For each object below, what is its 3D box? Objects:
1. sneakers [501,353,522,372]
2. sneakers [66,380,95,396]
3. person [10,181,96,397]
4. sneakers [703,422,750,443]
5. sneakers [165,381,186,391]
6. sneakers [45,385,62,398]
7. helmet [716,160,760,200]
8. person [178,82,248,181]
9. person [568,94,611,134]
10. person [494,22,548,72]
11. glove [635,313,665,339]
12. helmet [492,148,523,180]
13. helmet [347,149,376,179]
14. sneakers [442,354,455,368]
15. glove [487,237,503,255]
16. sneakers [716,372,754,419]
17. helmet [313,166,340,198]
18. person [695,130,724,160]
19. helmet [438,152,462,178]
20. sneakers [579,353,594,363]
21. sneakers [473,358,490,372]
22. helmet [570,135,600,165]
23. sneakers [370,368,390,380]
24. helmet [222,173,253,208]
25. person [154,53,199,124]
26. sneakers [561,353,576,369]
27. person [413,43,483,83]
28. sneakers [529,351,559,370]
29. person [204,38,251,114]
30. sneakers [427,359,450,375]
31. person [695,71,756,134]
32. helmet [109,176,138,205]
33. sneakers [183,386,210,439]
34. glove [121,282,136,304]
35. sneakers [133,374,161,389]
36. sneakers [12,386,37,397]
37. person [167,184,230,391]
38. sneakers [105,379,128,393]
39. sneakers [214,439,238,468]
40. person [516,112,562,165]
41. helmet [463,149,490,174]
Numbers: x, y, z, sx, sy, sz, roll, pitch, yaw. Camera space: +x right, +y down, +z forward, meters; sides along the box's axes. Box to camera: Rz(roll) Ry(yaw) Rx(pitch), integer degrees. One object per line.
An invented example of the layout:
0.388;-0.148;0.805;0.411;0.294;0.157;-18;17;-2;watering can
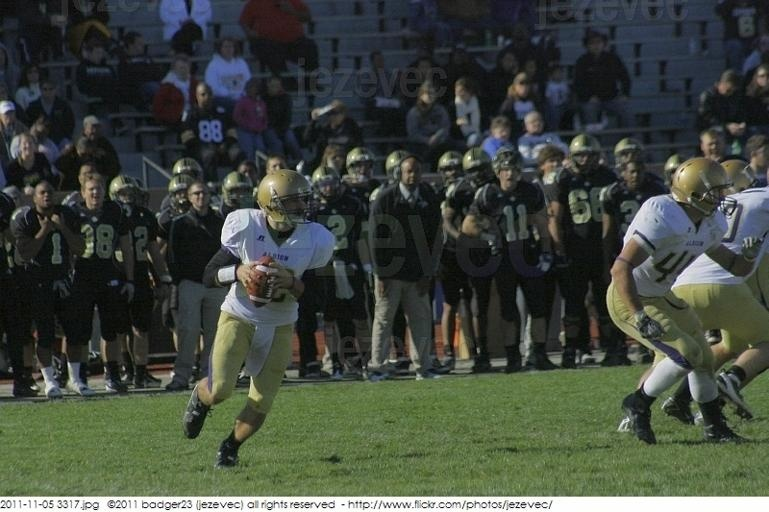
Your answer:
1.522;1.302;17.291;0.241;0.231;0.146;-3;-1;1;sneakers
-3.536;1.576;17.029;0.316;0.117;0.135;18;3;22;sneakers
-3.889;0.411;17.006;0.859;2.119;0.488;-1;1;-17;person
3.550;1.833;15.007;0.503;0.290;0.164;-2;0;-6;sneakers
-2.446;1.545;17.101;0.245;0.097;0.097;9;-1;-6;sneakers
-3.838;1.595;16.930;0.187;0.115;0.231;-1;1;-14;sneakers
3.954;-0.880;16.073;0.506;0.454;0.383;2;19;0;helmet
-2.454;-1.669;20.855;0.814;1.534;0.838;-9;8;-24;person
3.089;-2.104;22.064;0.210;0.544;0.929;-1;1;37;person
2.189;-3.177;22.180;0.643;0.829;0.951;-1;1;18;person
2.669;0.735;14.745;0.222;0.291;0.134;-40;-5;-28;glove
1.476;-1.092;17.394;0.263;0.332;0.343;5;-25;-9;helmet
-0.277;-1.151;18.063;0.305;0.305;0.365;-1;3;-19;helmet
0.800;1.297;17.544;0.114;0.151;0.156;-3;-14;20;sneakers
1.350;-0.092;17.287;0.187;0.188;0.079;3;3;15;glove
3.673;1.484;15.235;0.150;0.447;0.193;-38;2;32;sneakers
-0.691;-0.857;17.538;0.303;0.334;0.381;-4;10;-15;helmet
4.117;-1.368;18.178;0.287;0.452;1.068;-1;1;14;person
0.819;-1.110;17.884;0.245;0.263;0.288;0;10;4;helmet
2.472;1.239;17.652;0.140;0.139;0.139;-3;8;0;sneakers
1.188;1.324;17.378;0.204;0.198;0.126;-3;-5;11;sneakers
2.431;-1.299;17.646;0.337;0.389;0.452;1;-6;-8;helmet
-0.044;1.418;17.197;0.241;0.092;0.164;-1;1;0;sneakers
-1.765;-0.761;17.616;0.324;0.371;0.439;0;3;-16;helmet
-3.048;-2.450;21.702;0.796;1.021;0.512;-10;25;-38;person
2.214;1.259;17.300;0.178;0.110;0.221;-1;1;6;sneakers
0.915;-2.917;22.089;0.802;0.711;1.317;-2;1;-32;person
1.859;1.266;17.333;0.258;0.136;0.498;-2;1;-39;sneakers
-2.261;-2.631;21.673;0.712;1.119;0.715;-7;23;-25;person
0.668;1.350;17.372;0.226;0.117;0.148;10;4;-14;sneakers
4.964;-2.208;21.135;0.764;0.884;0.505;-1;1;13;person
-3.148;-0.787;17.771;0.275;0.310;0.355;-3;1;-35;helmet
-1.931;1.631;14.684;0.249;0.589;0.207;-3;-14;40;sneakers
-3.027;0.458;17.206;0.158;0.214;0.093;24;-2;-27;glove
-2.856;1.544;17.550;0.404;0.168;0.134;-3;12;-28;sneakers
-4.215;1.610;17.096;0.295;0.125;0.105;-1;6;-6;sneakers
-2.137;0.371;17.303;0.904;2.557;0.803;-2;21;-12;person
-3.157;1.576;17.237;0.247;0.106;0.127;16;5;27;sneakers
-1.567;2.010;14.608;0.199;0.279;0.282;5;-13;-9;sneakers
2.171;-1.607;20.592;0.595;0.816;0.325;-21;17;-13;person
1.099;-1.139;17.507;0.240;0.262;0.320;-5;18;28;helmet
